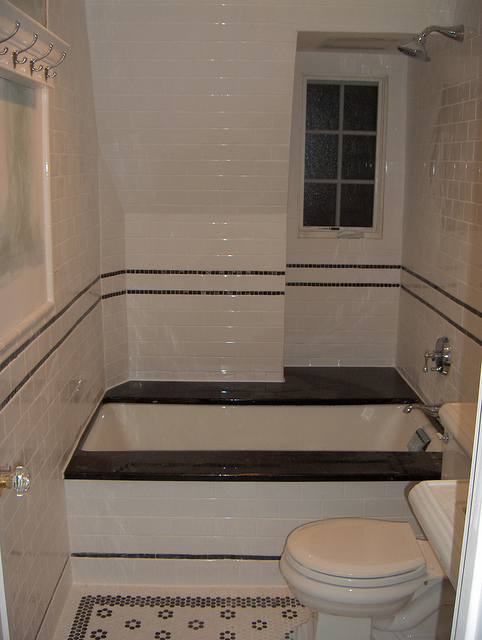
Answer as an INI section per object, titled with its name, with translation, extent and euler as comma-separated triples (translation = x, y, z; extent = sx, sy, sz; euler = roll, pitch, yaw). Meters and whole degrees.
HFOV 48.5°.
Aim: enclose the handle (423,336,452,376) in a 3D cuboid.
[handle]
translation = 0.990, 0.214, 2.761
extent = 0.118, 0.226, 0.229
euler = 2, -106, 6
